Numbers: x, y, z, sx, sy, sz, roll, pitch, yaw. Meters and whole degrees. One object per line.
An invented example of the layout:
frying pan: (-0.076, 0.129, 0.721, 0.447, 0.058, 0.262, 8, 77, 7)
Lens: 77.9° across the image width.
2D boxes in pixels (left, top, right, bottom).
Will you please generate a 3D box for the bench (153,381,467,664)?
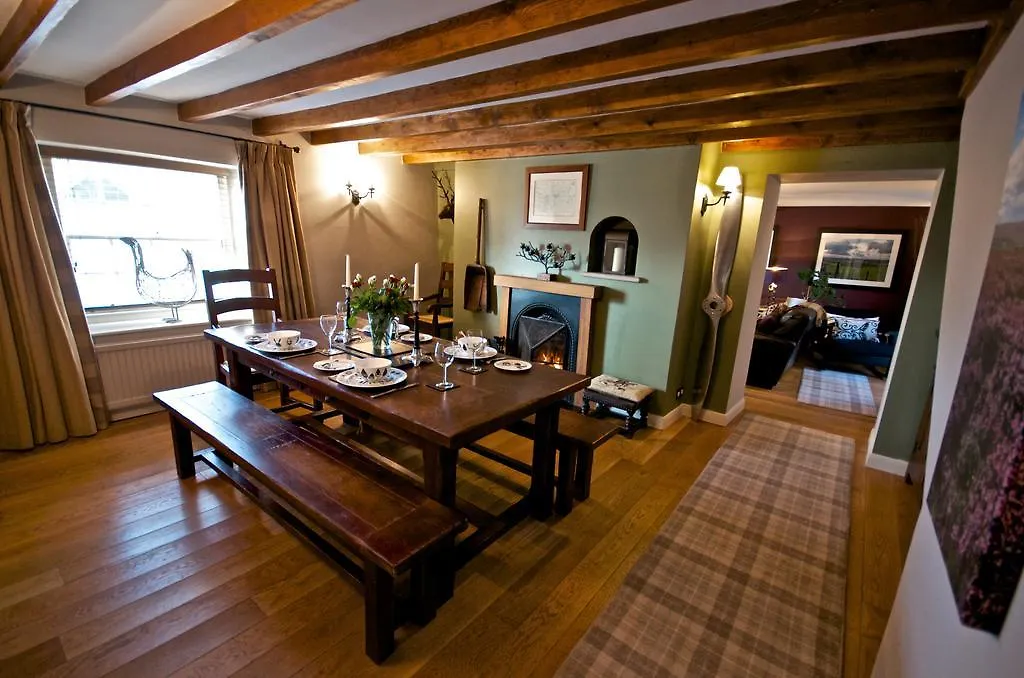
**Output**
bench: (-1.288, 1.136, 4.148, 2.130, 1.235, 0.612, 8, 16, 33)

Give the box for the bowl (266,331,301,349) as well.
bowl: (-1.660, 0.003, 4.674, 0.185, 0.088, 0.179, 0, -2, 0)

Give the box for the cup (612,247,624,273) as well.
cup: (0.976, -0.734, 5.824, 0.114, 0.235, 0.056, 4, 15, 15)

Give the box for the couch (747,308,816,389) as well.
couch: (3.072, 0.104, 7.262, 0.315, 0.340, 0.933, 11, 21, 36)

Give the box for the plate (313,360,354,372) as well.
plate: (-1.216, 0.179, 4.311, 0.141, 0.020, 0.139, -14, 28, -39)

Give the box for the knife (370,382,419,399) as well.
knife: (-0.772, 0.333, 4.073, 0.353, 0.028, 0.049, -9, 47, -41)

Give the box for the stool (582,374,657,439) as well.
stool: (1.006, 0.517, 5.781, 0.631, 0.431, 0.522, 13, 14, 41)

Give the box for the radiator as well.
radiator: (-2.992, 0.281, 5.303, 0.642, 0.428, 0.063, -18, 20, -38)

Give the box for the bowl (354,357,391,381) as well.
bowl: (-0.902, 0.184, 4.133, 0.171, 0.077, 0.167, 3, 5, 0)

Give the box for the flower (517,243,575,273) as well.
flower: (0.335, -0.803, 6.145, 0.470, 0.223, 0.287, 24, 17, 32)

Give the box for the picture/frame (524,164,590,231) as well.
picture/frame: (0.446, -1.358, 5.999, 0.622, 0.515, 0.041, 15, 19, 29)

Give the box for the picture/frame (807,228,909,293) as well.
picture/frame: (5.000, -1.122, 9.053, 0.965, 0.790, 0.076, 18, 23, 31)

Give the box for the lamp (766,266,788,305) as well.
lamp: (3.988, -0.823, 9.570, 0.295, 0.536, 0.621, 5, 14, 22)

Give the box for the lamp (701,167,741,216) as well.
lamp: (1.829, -1.297, 5.584, 0.330, 0.420, 0.256, 3, 14, 13)

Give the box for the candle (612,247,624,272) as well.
candle: (0.974, -0.730, 5.825, 0.112, 0.226, 0.054, 4, 15, 19)

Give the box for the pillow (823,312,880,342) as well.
pillow: (4.565, -0.157, 8.436, 0.613, 0.425, 0.175, 8, -6, 23)

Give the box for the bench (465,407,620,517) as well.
bench: (0.210, 0.921, 4.609, 0.278, 0.344, 0.789, -17, 23, -41)
